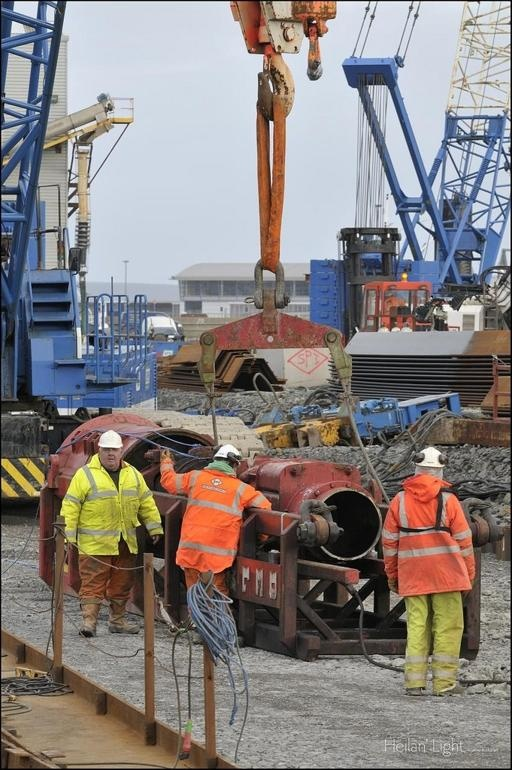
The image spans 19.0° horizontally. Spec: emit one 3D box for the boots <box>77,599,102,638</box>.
[{"bbox_3d":[-1.183,1.651,10.484,0.121,0.266,0.264,3,-30,0],"label":"boots"}]

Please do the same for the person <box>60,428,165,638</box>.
[{"bbox_3d":[-1.004,1.027,10.490,0.695,1.409,0.520,-1,-1,-13],"label":"person"}]

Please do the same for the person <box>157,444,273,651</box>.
[{"bbox_3d":[-0.307,0.926,9.964,0.601,1.191,0.416,-1,22,-13],"label":"person"}]

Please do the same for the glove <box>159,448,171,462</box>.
[{"bbox_3d":[-0.650,0.502,10.824,0.062,0.102,0.145,3,-1,-2],"label":"glove"}]

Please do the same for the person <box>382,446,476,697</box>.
[{"bbox_3d":[1.023,1.109,9.154,0.546,1.439,0.495,-2,-1,10],"label":"person"}]

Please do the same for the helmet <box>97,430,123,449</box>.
[{"bbox_3d":[-1.034,0.388,10.700,0.122,0.097,0.177,1,-2,-6],"label":"helmet"}]

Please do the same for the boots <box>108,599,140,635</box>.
[{"bbox_3d":[-0.949,1.623,10.729,0.272,0.304,0.148,1,1,-1],"label":"boots"}]

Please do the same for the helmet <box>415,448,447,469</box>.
[{"bbox_3d":[1.057,0.451,9.297,0.120,0.086,0.156,3,-10,7],"label":"helmet"}]
